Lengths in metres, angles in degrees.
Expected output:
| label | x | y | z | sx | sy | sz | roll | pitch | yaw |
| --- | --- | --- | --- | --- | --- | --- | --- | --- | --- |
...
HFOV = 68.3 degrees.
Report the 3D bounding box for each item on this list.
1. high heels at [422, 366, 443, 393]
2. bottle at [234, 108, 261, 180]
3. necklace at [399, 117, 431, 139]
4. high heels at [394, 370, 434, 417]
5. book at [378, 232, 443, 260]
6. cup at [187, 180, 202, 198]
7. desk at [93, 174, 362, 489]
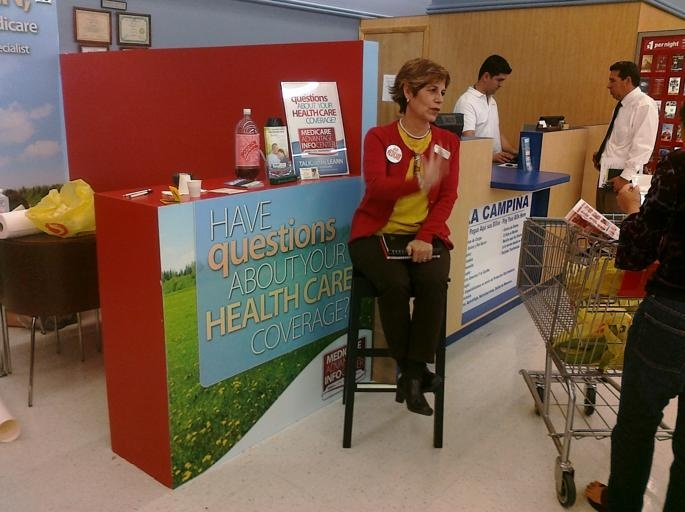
| label | x | y | z | sx | sy | sz | roll | pitch | yaw |
| --- | --- | --- | --- | --- | --- | --- | --- | --- | --- |
| high heels | 0.436 | 0.623 | 2.550 | 0.123 | 0.123 | 0.098 | 7 | 9 | 41 |
| bottle | -0.534 | -0.642 | 2.825 | 0.129 | 0.353 | 0.295 | -2 | 20 | -7 |
| necklace | 0.394 | -0.694 | 2.707 | 0.117 | 0.121 | 0.030 | 0 | 44 | 15 |
| high heels | 0.357 | 0.682 | 2.487 | 0.187 | 0.216 | 0.207 | 3 | 20 | 8 |
| book | 0.317 | -0.058 | 2.605 | 0.180 | 0.047 | 0.194 | -3 | 29 | -17 |
| cup | -0.689 | -0.319 | 2.378 | 0.070 | 0.082 | 0.070 | 2 | 10 | 0 |
| desk | -0.580 | 0.397 | 2.548 | 0.413 | 1.199 | 1.286 | 10 | 15 | 36 |
